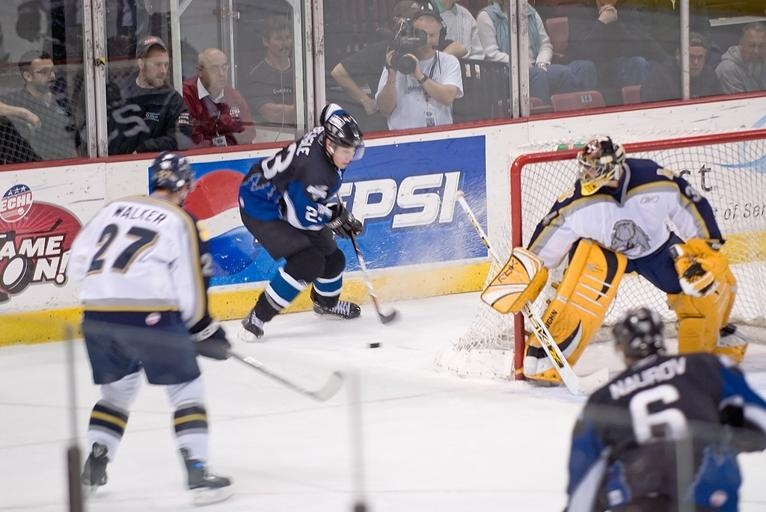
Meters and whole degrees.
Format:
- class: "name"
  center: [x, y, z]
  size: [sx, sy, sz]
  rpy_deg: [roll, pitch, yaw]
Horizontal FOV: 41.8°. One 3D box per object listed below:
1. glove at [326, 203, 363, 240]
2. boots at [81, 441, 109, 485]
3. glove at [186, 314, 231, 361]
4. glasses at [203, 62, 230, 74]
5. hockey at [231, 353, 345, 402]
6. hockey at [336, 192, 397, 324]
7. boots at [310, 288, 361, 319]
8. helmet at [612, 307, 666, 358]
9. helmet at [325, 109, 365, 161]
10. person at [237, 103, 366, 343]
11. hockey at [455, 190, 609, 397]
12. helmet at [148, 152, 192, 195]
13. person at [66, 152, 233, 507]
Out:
- class: "glove"
  center: [-0.258, -0.213, 6.312]
  size: [0.231, 0.161, 0.098]
  rpy_deg: [38, -8, -20]
- class: "boots"
  center: [-1.180, 0.844, 4.086]
  size: [0.094, 0.139, 0.061]
  rpy_deg: [16, -12, -26]
- class: "glove"
  center: [-0.764, 0.354, 4.479]
  size: [0.141, 0.231, 0.155]
  rpy_deg: [-18, 27, 16]
- class: "glasses"
  center: [-1.098, -1.226, 6.568]
  size: [0.134, 0.059, 0.031]
  rpy_deg: [-3, 5, -29]
- class: "hockey"
  center: [-0.380, 0.498, 4.132]
  size: [0.616, 0.180, 0.130]
  rpy_deg: [3, 6, 36]
- class: "hockey"
  center: [-0.135, -0.006, 6.750]
  size: [0.135, 0.914, 0.130]
  rpy_deg: [-27, -2, -7]
- class: "boots"
  center: [-0.316, 0.337, 6.623]
  size: [0.408, 0.141, 0.272]
  rpy_deg: [5, -17, -1]
- class: "helmet"
  center: [0.983, 0.301, 3.975]
  size: [0.170, 0.204, 0.207]
  rpy_deg: [6, -39, -1]
- class: "helmet"
  center: [-0.236, -0.731, 5.939]
  size: [0.180, 0.318, 0.133]
  rpy_deg: [-29, -11, -48]
- class: "person"
  center: [-0.481, -0.210, 6.272]
  size: [0.837, 1.412, 0.642]
  rpy_deg: [0, 5, 12]
- class: "hockey"
  center: [0.817, 0.152, 5.711]
  size: [0.488, 1.478, 0.100]
  rpy_deg: [-34, -24, 22]
- class: "helmet"
  center: [-1.021, -0.379, 4.706]
  size: [0.183, 0.205, 0.224]
  rpy_deg: [12, 12, -1]
- class: "person"
  center: [-0.993, 0.268, 4.305]
  size: [0.677, 1.422, 0.764]
  rpy_deg: [-2, 5, -17]
